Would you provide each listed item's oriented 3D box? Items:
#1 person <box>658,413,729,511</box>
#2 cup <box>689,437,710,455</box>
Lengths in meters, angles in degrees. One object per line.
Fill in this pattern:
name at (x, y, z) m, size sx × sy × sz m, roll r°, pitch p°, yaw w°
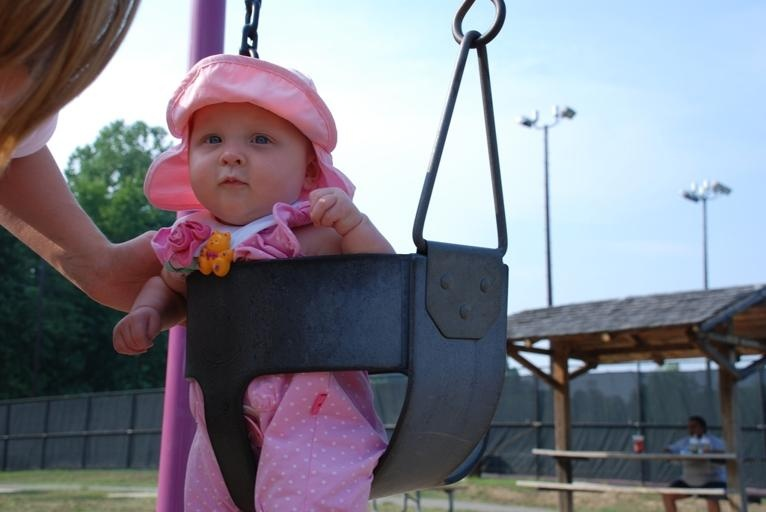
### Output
person at (7.839, 5.201, 27.016) m, size 1.458 × 2.400 × 0.906 m, roll 1°, pitch -12°, yaw 16°
cup at (7.901, 4.696, 26.865) m, size 0.474 × 0.427 × 0.278 m, roll 8°, pitch -13°, yaw -14°
